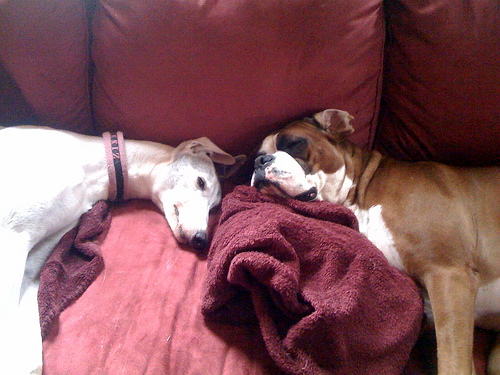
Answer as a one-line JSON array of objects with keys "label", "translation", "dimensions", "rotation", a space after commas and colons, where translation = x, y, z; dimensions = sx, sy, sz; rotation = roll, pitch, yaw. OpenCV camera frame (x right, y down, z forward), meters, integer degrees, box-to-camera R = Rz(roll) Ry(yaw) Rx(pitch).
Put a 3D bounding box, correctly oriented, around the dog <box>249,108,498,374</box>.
[{"label": "dog", "translation": [0.527, 0.254, 2.013], "dimensions": [1.112, 0.394, 0.846], "rotation": [15, 48, 0]}]
